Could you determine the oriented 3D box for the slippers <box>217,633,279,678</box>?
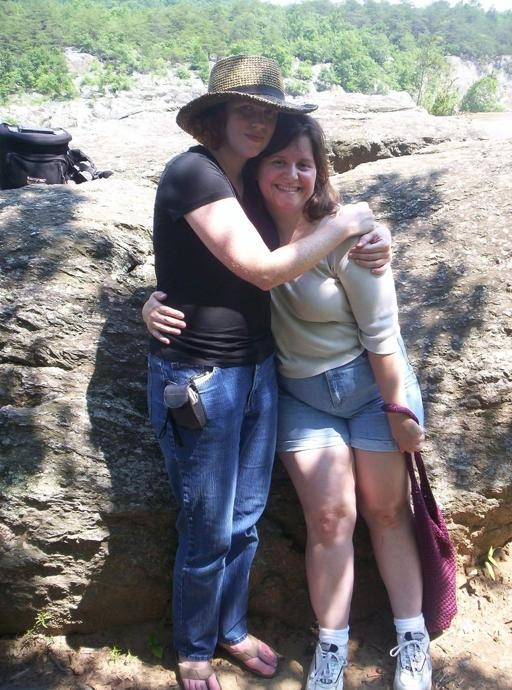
[{"bbox_3d":[-0.002,1.226,2.560,0.271,0.101,0.121,19,54,18],"label":"slippers"}]

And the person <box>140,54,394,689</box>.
[{"bbox_3d":[-0.035,0.162,2.379,0.756,2.282,0.851,4,22,2],"label":"person"}]

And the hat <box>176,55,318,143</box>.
[{"bbox_3d":[-0.047,-0.915,2.317,0.388,0.162,0.432,3,-4,-25],"label":"hat"}]
